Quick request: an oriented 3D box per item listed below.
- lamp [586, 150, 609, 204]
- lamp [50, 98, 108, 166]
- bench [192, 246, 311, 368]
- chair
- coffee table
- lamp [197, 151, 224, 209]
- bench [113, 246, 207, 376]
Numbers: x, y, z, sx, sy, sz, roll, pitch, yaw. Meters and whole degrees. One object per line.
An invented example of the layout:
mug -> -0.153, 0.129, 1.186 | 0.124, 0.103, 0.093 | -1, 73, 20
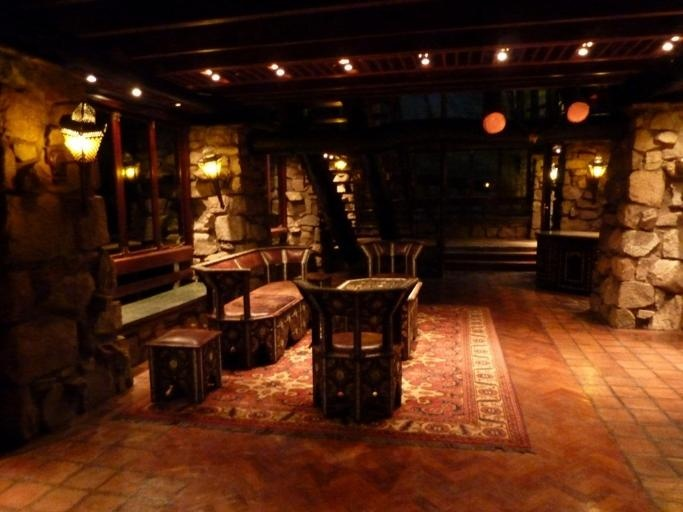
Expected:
lamp -> 6.169, -1.886, 11.988 | 0.400, 1.199, 0.638 | 5, 16, 23
lamp -> -2.401, -1.132, 4.572 | 0.438, 0.492, 0.425 | -6, 22, -42
bench -> -1.098, 0.655, 6.090 | 0.686, 0.646, 1.505 | 1, 9, 12
chair -> 0.217, 0.863, 5.113 | 1.380, 1.212, 1.296 | 0, 4, 4
coffee table -> -1.613, 1.111, 5.043 | 0.705, 0.623, 0.482 | 0, 14, 2
lamp -> -1.961, -1.147, 7.541 | 0.361, 0.873, 0.249 | -4, 15, -13
bench -> -2.193, 0.666, 5.981 | 0.641, 0.751, 1.534 | 2, 9, 14
